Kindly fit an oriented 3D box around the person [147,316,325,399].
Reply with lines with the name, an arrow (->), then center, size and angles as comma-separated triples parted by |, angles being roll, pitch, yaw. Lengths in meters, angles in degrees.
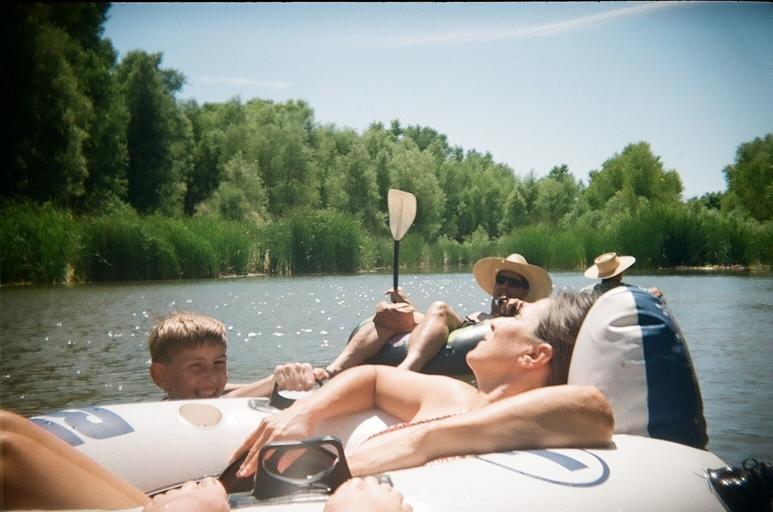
person -> -1.753, 1.143, 7.594 | 1.459, 0.614, 1.077 | 12, 3, -16
